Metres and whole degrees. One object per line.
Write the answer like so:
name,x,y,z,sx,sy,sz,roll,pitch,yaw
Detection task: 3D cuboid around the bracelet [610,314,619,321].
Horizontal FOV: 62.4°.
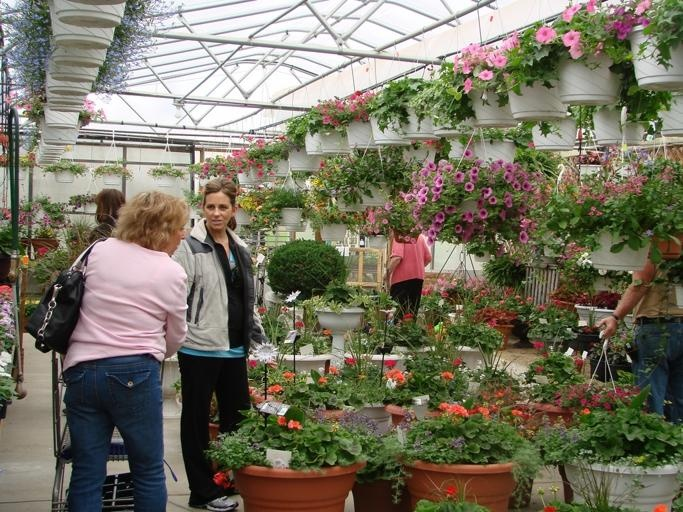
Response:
bracelet,1.540,0.347,3.201,0.039,0.014,0.028,32,41,3

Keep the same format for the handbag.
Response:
handbag,-1.121,0.215,2.198,0.219,0.329,0.081,0,-2,11
